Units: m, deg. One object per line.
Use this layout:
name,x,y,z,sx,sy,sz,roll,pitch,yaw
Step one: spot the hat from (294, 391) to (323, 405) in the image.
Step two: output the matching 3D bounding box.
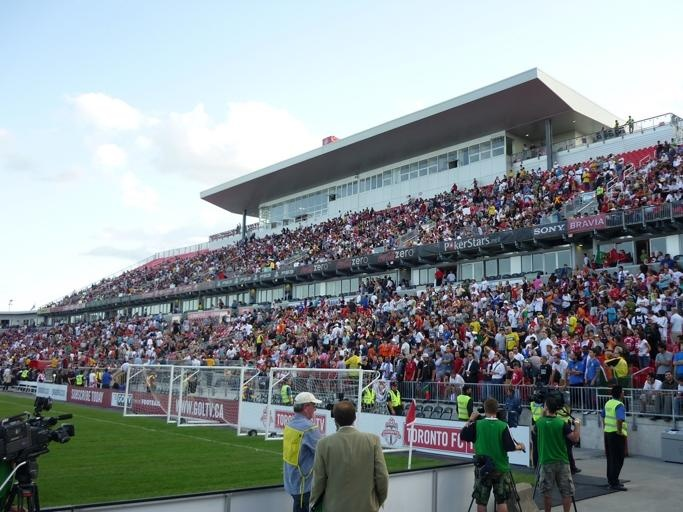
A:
hat,-0.629,2.552,12.833,0.364,0.177,0.255,3,-7,-8
